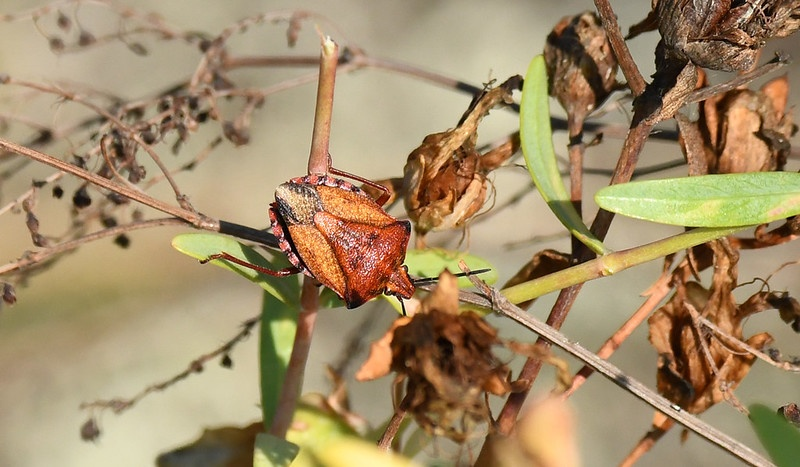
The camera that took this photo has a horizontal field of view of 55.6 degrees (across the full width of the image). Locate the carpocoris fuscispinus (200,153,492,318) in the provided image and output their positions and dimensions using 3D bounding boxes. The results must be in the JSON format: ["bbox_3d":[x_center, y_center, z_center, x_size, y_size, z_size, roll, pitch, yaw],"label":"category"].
[{"bbox_3d":[-0.114,0.012,1.560,0.390,0.112,0.386,40,-99,-2],"label":"carpocoris fuscispinus"}]
